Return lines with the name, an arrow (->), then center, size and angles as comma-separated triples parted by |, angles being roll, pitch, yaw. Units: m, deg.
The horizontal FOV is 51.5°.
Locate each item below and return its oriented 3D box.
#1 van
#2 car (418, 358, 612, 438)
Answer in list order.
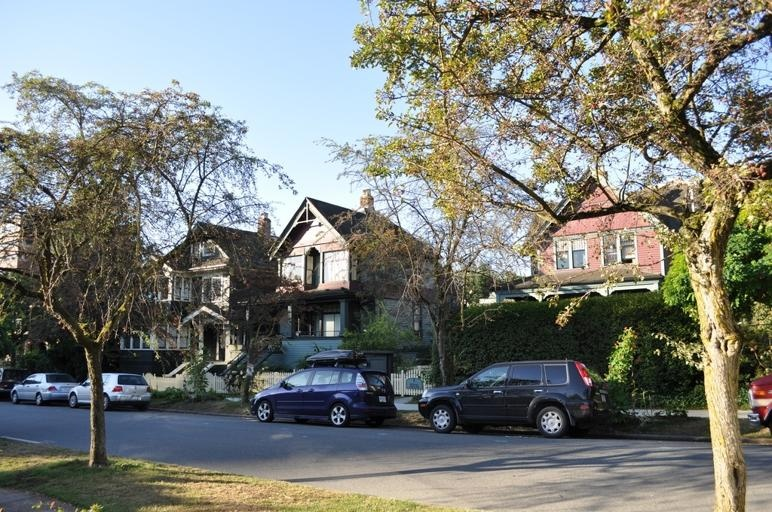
van -> -2.022, 4.697, 28.323 | 4.971, 2.245, 2.461 | -4, -13, 30
car -> 4.025, 4.231, 23.985 | 4.473, 1.863, 2.297 | -3, -10, 31
